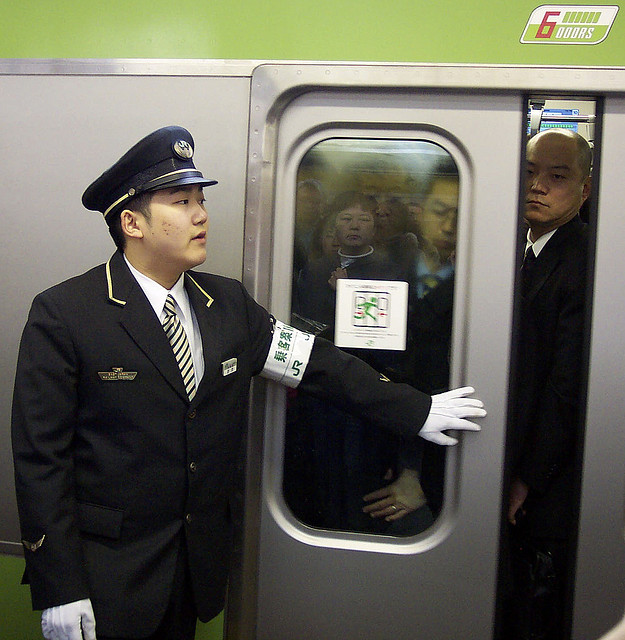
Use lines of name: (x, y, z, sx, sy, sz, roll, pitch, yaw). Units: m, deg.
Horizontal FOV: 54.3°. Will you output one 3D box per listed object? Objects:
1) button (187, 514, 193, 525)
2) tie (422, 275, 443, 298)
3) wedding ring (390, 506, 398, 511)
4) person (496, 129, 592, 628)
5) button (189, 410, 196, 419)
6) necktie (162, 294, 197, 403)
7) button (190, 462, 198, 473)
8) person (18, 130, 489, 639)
button: (-0.326, 0.525, 1.617, 0.017, 0.036, 0.018, 5, -9, -17)
tie: (0.368, -0.108, 1.887, 0.058, 0.063, 0.019, -1, 12, 5)
wedding ring: (0.258, 0.593, 1.932, 0.030, 0.009, 0.007, 27, -4, 36)
person: (0.709, 0.197, 1.873, 0.255, 1.550, 0.131, 1, 5, 22)
button: (-0.315, 0.245, 1.601, 0.013, 0.019, 0.005, 11, -2, -33)
necktie: (-0.358, 0.069, 1.629, 0.054, 0.407, 0.037, -2, -20, -26)
button: (-0.312, 0.385, 1.602, 0.006, 0.023, 0.021, -4, -5, 31)
person: (-0.288, 0.194, 1.704, 0.964, 1.416, 0.271, -3, 5, -25)
